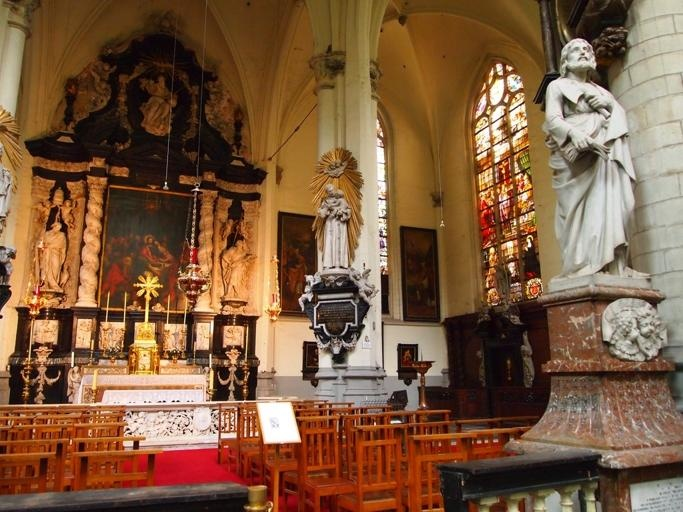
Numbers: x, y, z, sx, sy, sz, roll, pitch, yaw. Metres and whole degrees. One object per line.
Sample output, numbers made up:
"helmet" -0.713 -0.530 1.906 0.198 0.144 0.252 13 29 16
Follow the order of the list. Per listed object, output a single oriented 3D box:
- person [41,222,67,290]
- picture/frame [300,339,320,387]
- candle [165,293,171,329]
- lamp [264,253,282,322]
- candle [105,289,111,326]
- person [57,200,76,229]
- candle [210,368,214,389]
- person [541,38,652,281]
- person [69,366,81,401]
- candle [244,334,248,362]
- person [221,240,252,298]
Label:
"person" -6.925 -0.011 13.135 0.547 1.726 0.228 8 -16 -29
"picture/frame" -0.849 2.937 14.858 0.436 1.238 0.347 3 -14 -13
"candle" -4.374 1.368 13.794 0.105 0.801 0.095 5 -15 -21
"lamp" -1.791 0.859 14.567 0.415 1.889 1.010 1 -14 -6
"candle" -5.680 1.242 13.300 0.091 0.784 0.125 -11 -17 37
"person" -6.786 -1.031 13.520 0.364 0.746 0.148 7 -16 -26
"candle" -2.589 2.474 10.891 0.047 0.355 0.543 4 -15 -16
"person" 2.019 -0.819 4.438 0.623 2.002 0.548 -6 -15 23
"person" -5.977 2.870 12.174 0.231 0.799 0.860 7 -16 -27
"candle" -2.493 2.409 14.323 0.091 0.761 0.148 3 -14 -14
"person" -2.840 0.389 14.641 0.825 1.622 0.231 2 -14 -10
